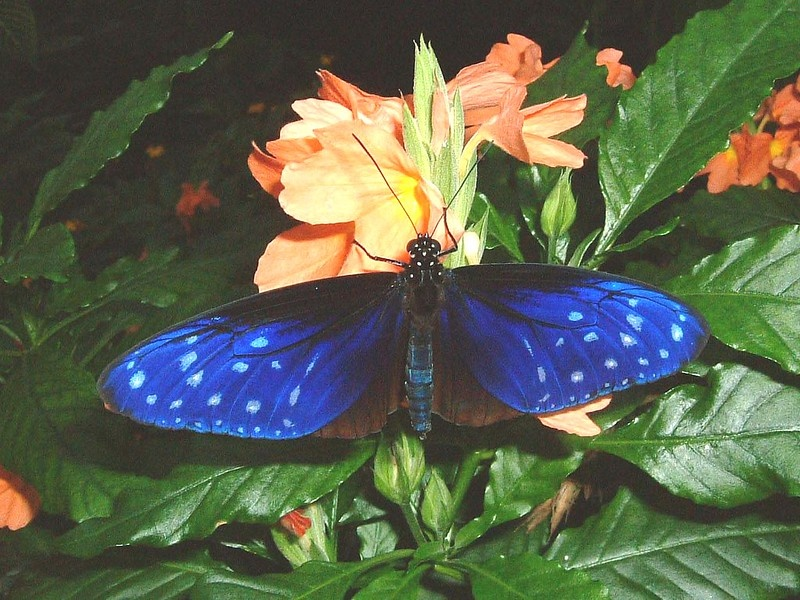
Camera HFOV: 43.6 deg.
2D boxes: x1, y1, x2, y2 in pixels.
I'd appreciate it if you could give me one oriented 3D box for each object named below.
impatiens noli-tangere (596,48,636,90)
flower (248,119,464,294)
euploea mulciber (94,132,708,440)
[{"bbox_3d":[0.337,-0.358,1.623,0.087,0.088,0.028,-14,9,-38],"label":"impatiens noli-tangere"},{"bbox_3d":[-0.028,-0.139,1.346,0.275,0.214,0.269,0,24,7],"label":"flower"},{"bbox_3d":[0.023,-0.060,1.364,0.865,0.514,0.134,-7,-2,-12],"label":"euploea mulciber"}]
